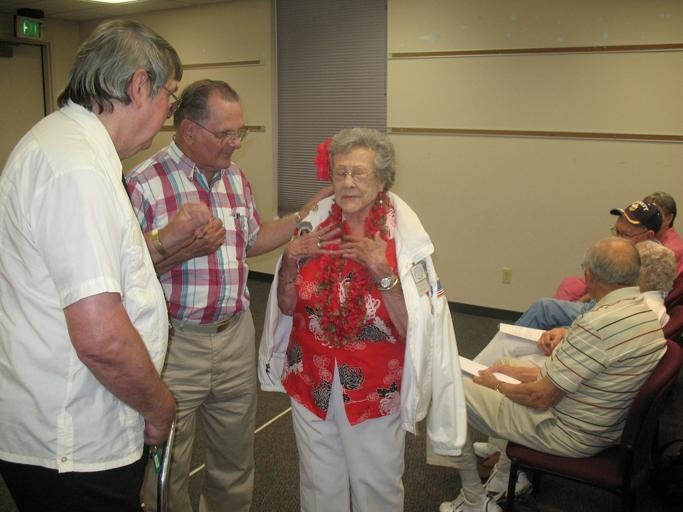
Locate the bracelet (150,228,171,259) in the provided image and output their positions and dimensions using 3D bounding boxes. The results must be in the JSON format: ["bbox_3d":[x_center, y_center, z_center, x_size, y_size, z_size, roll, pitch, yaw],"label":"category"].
[{"bbox_3d":[-0.671,-0.052,1.865,0.022,0.083,0.081,-17,-27,-6],"label":"bracelet"}]

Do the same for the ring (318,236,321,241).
[{"bbox_3d":[-0.089,-0.074,2.090,0.017,0.017,0.004,-3,-10,-17],"label":"ring"}]

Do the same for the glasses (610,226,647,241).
[{"bbox_3d":[1.880,-0.150,3.326,0.183,0.084,0.115,19,11,-13],"label":"glasses"}]

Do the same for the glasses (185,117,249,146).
[{"bbox_3d":[-0.527,-0.538,2.172,0.144,0.044,0.142,37,23,19],"label":"glasses"}]

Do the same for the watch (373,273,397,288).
[{"bbox_3d":[0.170,0.089,1.934,0.047,0.032,0.054,-21,3,5],"label":"watch"}]

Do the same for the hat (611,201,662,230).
[{"bbox_3d":[1.994,-0.285,3.458,0.307,0.165,0.194,23,12,-18],"label":"hat"}]
